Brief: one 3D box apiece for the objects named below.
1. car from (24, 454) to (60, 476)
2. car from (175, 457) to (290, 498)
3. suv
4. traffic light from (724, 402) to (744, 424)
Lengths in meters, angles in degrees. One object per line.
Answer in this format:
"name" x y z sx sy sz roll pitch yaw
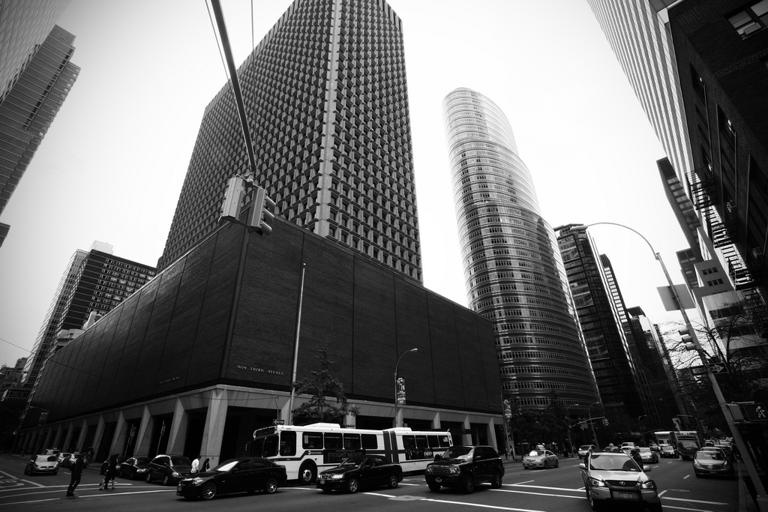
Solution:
"car" -32.222 19.722 45.965 2.411 2.027 2.735 12 -31 -26
"car" -11.375 16.960 36.998 7.178 2.266 3.119 21 -36 -33
"suv" 6.441 16.447 37.848 3.528 3.049 7.148 -19 -28 40
"traffic light" 23.229 10.333 32.152 0.740 1.206 1.183 -20 -32 29
